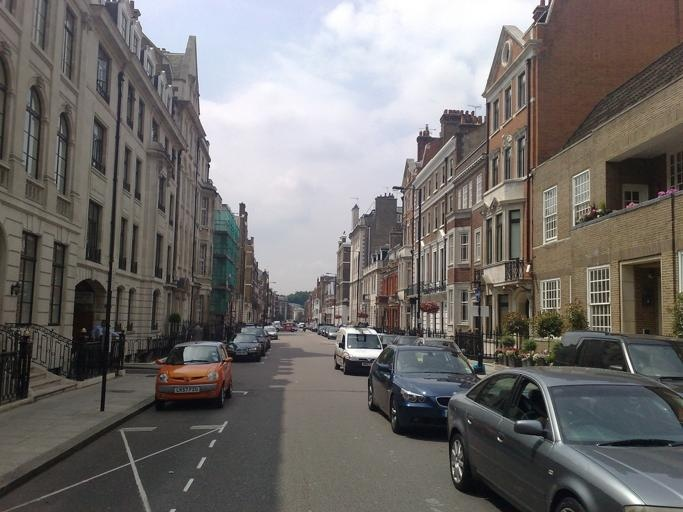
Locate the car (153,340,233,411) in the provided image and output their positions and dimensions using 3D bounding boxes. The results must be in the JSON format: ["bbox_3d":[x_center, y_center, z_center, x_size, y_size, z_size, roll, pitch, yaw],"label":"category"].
[{"bbox_3d":[-4.249,3.368,17.931,1.884,2.005,2.085,-1,-13,-1],"label":"car"}]

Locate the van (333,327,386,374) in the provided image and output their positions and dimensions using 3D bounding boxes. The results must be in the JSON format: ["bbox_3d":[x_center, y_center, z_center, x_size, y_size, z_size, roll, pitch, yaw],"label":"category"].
[{"bbox_3d":[0.675,3.893,26.340,1.228,1.276,2.371,1,-11,-12],"label":"van"}]

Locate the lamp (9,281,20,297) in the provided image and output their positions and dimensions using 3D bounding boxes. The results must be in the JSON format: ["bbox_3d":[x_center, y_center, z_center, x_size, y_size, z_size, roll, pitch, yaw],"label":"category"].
[{"bbox_3d":[-9.816,0.971,18.680,0.321,0.644,0.256,-6,-7,38],"label":"lamp"}]
